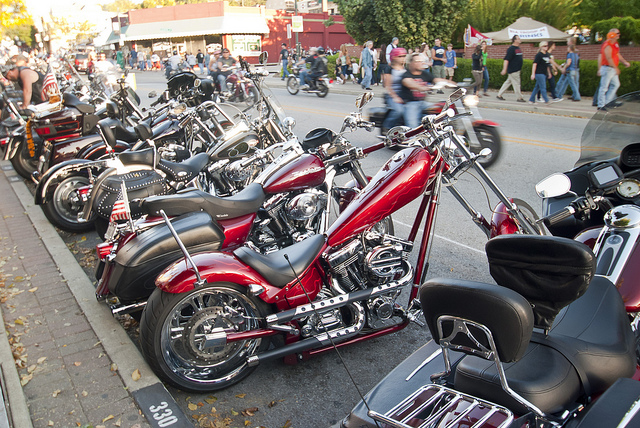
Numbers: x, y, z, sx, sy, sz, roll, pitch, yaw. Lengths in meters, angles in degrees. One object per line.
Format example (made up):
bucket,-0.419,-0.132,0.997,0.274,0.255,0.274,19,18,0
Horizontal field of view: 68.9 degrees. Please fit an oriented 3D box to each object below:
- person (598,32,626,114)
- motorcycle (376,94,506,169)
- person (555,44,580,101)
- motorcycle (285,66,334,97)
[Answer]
person,9.011,-4.500,14.603,0.590,2.225,0.798,6,24,30
motorcycle,2.993,-1.669,10.356,1.541,1.398,2.571,-12,1,-15
person,8.826,-4.978,16.603,0.685,1.985,1.266,8,24,34
motorcycle,-0.575,-6.236,21.339,2.765,1.662,1.436,20,30,37
